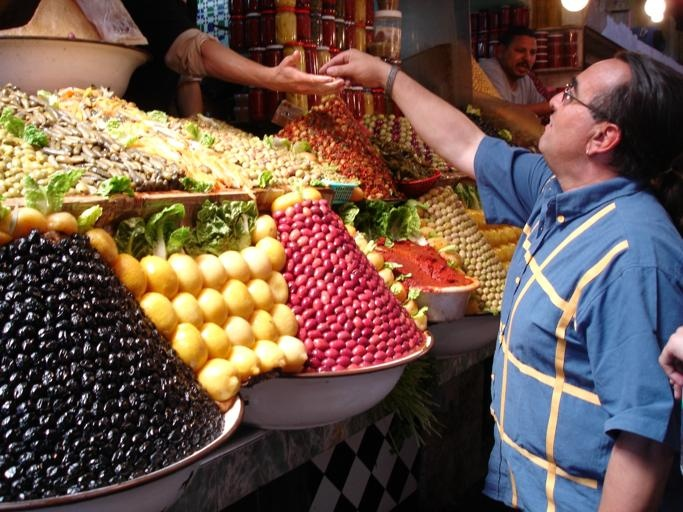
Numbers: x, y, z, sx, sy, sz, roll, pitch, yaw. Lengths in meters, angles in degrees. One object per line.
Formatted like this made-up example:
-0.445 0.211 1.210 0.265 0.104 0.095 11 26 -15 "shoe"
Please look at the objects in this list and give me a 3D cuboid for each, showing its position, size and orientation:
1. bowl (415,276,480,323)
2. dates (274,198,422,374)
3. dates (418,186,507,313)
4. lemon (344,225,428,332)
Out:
0.465 0.184 2.091 0.255 0.169 0.252 2 15 -1 "bowl"
0.025 0.102 1.615 0.473 0.509 0.470 7 14 6 "dates"
0.636 -0.068 2.568 0.367 0.710 0.435 11 20 29 "dates"
0.165 0.090 1.808 0.208 0.180 0.437 -22 68 -34 "lemon"
